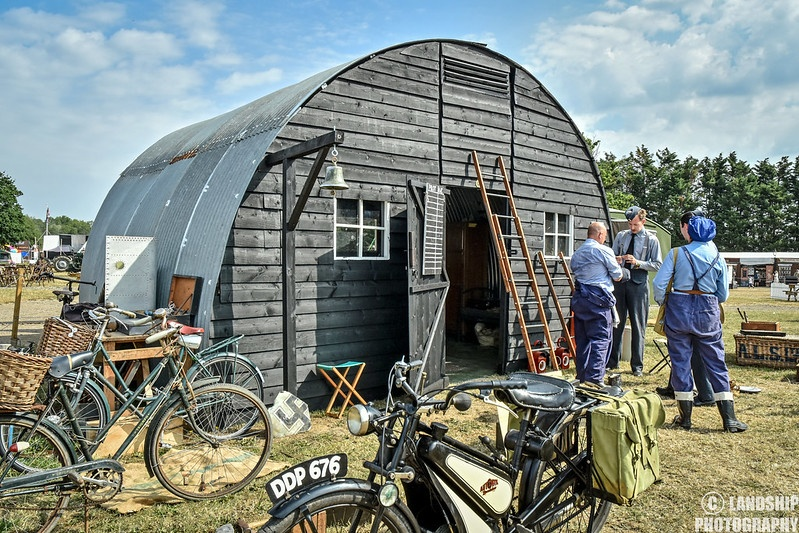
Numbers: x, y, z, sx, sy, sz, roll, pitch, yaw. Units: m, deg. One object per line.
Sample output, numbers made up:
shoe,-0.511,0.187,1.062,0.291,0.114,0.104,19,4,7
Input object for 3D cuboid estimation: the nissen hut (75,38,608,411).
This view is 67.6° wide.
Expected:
nissen hut,-1.706,-0.949,10.493,7.018,3.936,6.879,-2,0,-37

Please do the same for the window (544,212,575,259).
window,3.014,-0.621,11.515,0.117,0.870,0.967,11,5,12

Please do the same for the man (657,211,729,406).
man,3.889,0.573,7.857,0.993,2.463,0.808,0,13,22

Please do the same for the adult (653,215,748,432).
adult,3.571,0.633,7.237,0.870,2.660,0.386,-1,-6,26

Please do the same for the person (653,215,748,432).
person,3.567,0.633,7.239,0.862,2.660,0.385,-1,-6,26

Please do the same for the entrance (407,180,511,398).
entrance,0.474,-0.099,9.937,0.980,2.423,2.641,2,27,-4

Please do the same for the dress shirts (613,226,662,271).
dress shirts,3.818,-0.228,9.666,0.803,0.735,0.404,11,21,42

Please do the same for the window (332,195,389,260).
window,-0.560,-0.570,8.653,0.128,0.906,1.058,2,2,42
